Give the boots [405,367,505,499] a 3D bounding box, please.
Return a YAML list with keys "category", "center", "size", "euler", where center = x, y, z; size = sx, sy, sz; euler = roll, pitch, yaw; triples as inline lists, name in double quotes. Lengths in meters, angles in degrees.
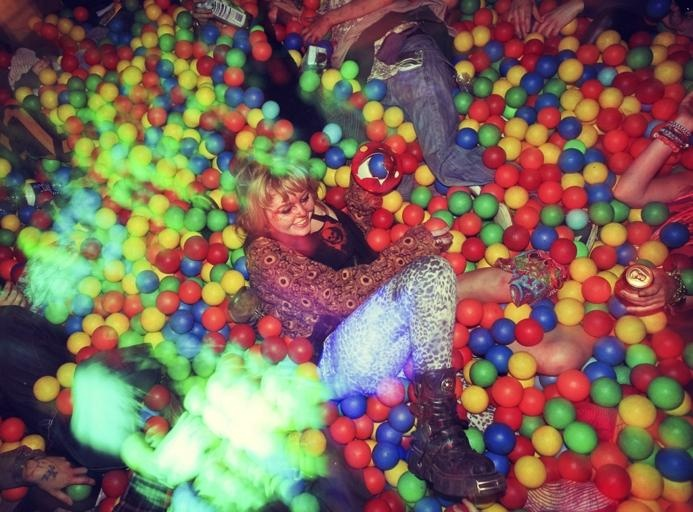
- category: "boots"
  center: [0.539, 1.002, 3.840]
  size: [0.372, 0.828, 0.658]
  euler: [-3, 95, -27]
